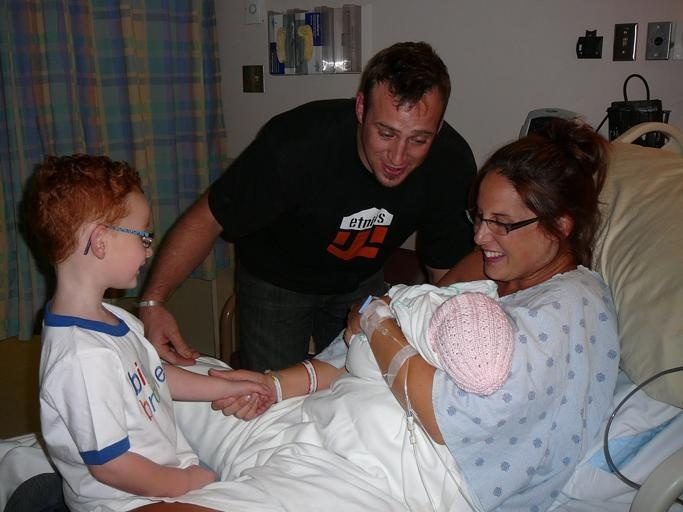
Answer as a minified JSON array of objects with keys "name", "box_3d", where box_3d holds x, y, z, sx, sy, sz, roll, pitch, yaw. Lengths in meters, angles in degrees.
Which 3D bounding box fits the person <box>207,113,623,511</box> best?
[{"name":"person","box_3d":[0.258,0.102,2.012,1.222,1.167,0.806,2,6,-3]}]

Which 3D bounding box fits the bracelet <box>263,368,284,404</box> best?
[{"name":"bracelet","box_3d":[-0.208,0.430,1.904,0.019,0.076,0.074,-19,-16,-13]}]

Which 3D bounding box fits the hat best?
[{"name":"hat","box_3d":[0.332,0.226,1.467,0.174,0.260,0.083,-9,-23,8]}]
